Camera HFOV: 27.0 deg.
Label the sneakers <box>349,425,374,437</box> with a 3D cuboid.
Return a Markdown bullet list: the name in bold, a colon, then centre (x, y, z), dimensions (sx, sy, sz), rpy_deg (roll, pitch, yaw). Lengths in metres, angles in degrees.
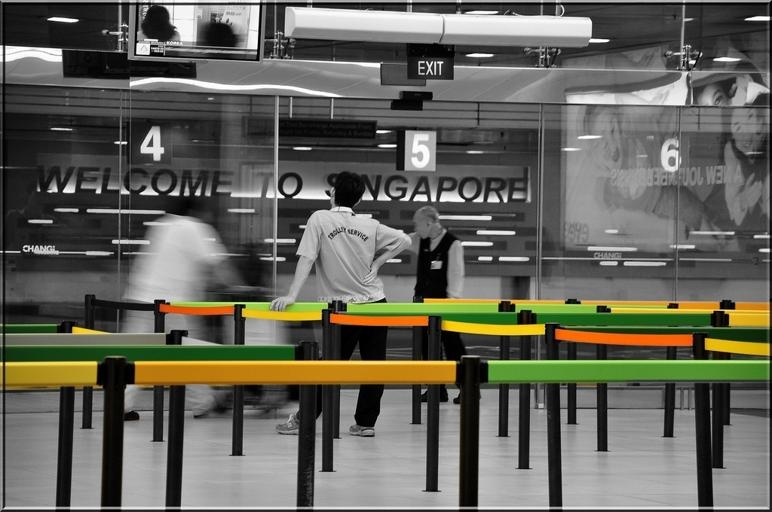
- **sneakers**: centre (-0.259, 1.969, 18.169), dimensions (0.313, 0.127, 0.115), rpy_deg (3, -1, 28)
